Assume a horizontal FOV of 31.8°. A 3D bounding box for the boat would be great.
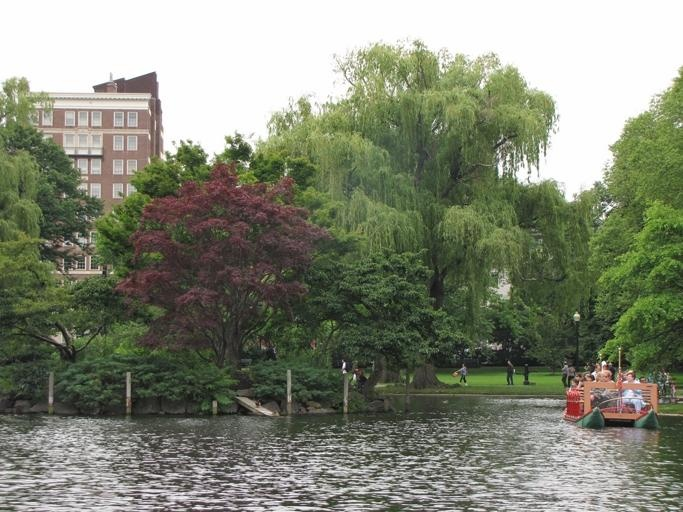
[{"bbox_3d":[13.428,7.152,60.158,2.805,2.675,5.034,1,-4,4],"label":"boat"}]
